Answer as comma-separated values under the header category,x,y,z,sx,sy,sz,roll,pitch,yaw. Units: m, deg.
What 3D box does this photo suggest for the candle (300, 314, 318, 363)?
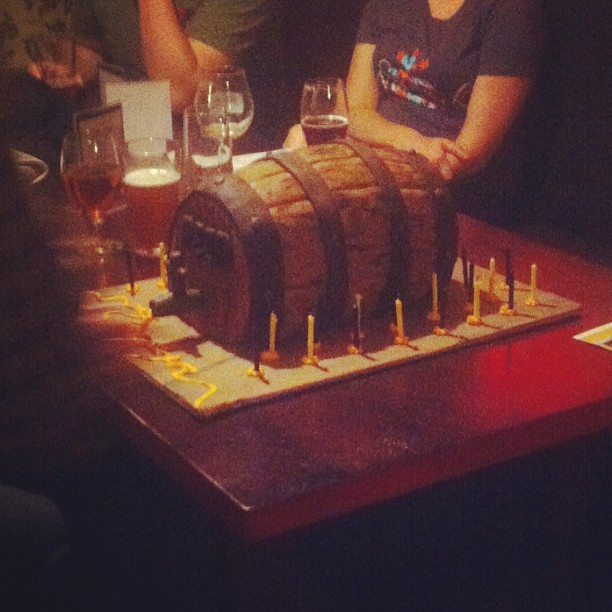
category,x,y,z,sx,sy,sz,roll,pitch,yaw
candle,0.007,0.046,1.237,0.029,0.085,0.028,-12,23,-38

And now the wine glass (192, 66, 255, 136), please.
category,x,y,z,sx,sy,sz,roll,pitch,yaw
wine glass,-0.199,-0.457,1.846,0.135,0.227,0.161,-4,8,-16

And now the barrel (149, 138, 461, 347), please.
category,x,y,z,sx,sy,sz,roll,pitch,yaw
barrel,-0.004,-0.111,1.345,0.536,0.312,0.207,-5,21,-24

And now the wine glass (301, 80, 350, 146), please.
category,x,y,z,sx,sy,sz,roll,pitch,yaw
wine glass,0.032,-0.358,1.573,0.083,0.166,0.101,-2,-15,7

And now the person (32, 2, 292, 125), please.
category,x,y,z,sx,sy,sz,roll,pitch,yaw
person,-0.468,-0.801,2.527,0.809,0.410,0.449,0,22,-14

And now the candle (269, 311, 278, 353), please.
category,x,y,z,sx,sy,sz,roll,pitch,yaw
candle,-0.053,0.039,1.252,0.013,0.071,0.034,2,19,-2
